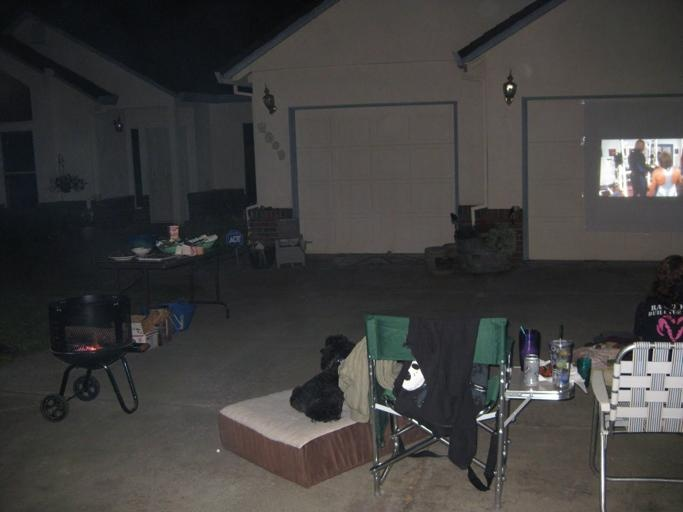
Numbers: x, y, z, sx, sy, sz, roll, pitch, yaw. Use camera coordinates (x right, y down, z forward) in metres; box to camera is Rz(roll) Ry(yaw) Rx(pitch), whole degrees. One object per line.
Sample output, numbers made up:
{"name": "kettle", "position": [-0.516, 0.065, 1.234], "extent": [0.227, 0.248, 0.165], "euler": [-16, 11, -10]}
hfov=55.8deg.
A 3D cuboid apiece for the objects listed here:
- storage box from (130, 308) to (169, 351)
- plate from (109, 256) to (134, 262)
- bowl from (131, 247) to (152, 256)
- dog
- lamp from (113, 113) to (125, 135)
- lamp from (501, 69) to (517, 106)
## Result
{"name": "storage box", "position": [-2.485, 0.952, 8.380], "extent": [0.410, 0.362, 0.778], "euler": [-1, -1, -3]}
{"name": "plate", "position": [-3.000, 0.042, 8.849], "extent": [0.310, 0.057, 0.298], "euler": [-1, 2, -9]}
{"name": "bowl", "position": [-2.850, -0.062, 9.166], "extent": [0.293, 0.122, 0.215], "euler": [0, 2, 4]}
{"name": "dog", "position": [-0.135, 1.118, 5.794], "extent": [0.450, 0.215, 0.812], "euler": [19, 43, 15]}
{"name": "lamp", "position": [-6.832, -4.134, 19.906], "extent": [0.250, 0.565, 0.996], "euler": [-1, 3, -20]}
{"name": "lamp", "position": [3.352, -3.354, 12.835], "extent": [0.298, 0.616, 0.363], "euler": [1, 3, 32]}
